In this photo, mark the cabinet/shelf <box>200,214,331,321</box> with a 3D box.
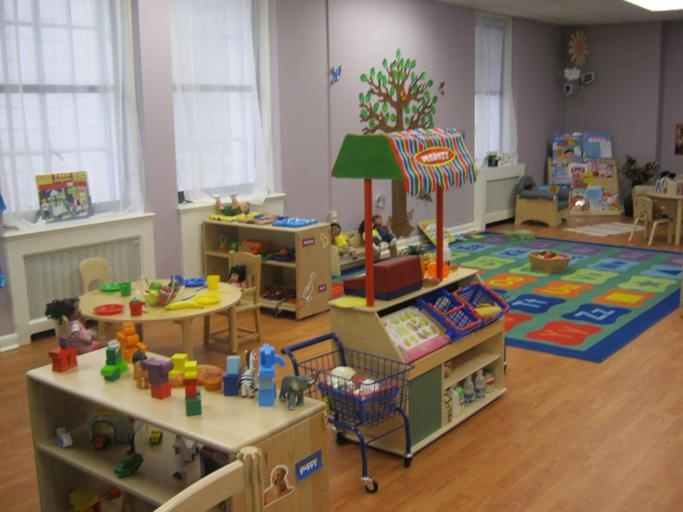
[{"bbox_3d":[-0.743,0.130,5.584,0.913,0.703,0.370,6,11,33],"label":"cabinet/shelf"}]

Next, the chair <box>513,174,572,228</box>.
[{"bbox_3d":[3.884,-1.104,10.395,0.767,0.935,1.049,7,16,40],"label":"chair"}]

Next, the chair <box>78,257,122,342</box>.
[{"bbox_3d":[-2.058,0.370,4.778,0.354,0.592,0.379,-13,30,-41],"label":"chair"}]

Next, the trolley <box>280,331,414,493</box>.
[{"bbox_3d":[0.043,0.925,3.369,0.504,0.853,0.750,-4,-4,-40],"label":"trolley"}]

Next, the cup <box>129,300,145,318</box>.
[{"bbox_3d":[-1.469,0.380,3.877,0.112,0.118,0.073,-1,2,-40],"label":"cup"}]

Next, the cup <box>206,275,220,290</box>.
[{"bbox_3d":[-1.061,0.214,4.514,0.110,0.102,0.096,1,4,-15],"label":"cup"}]

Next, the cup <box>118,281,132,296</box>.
[{"bbox_3d":[-1.716,0.256,4.349,0.095,0.115,0.095,1,19,0],"label":"cup"}]

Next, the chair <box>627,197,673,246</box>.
[{"bbox_3d":[4.997,-0.545,8.742,0.623,1.006,0.617,-9,12,-28],"label":"chair"}]
